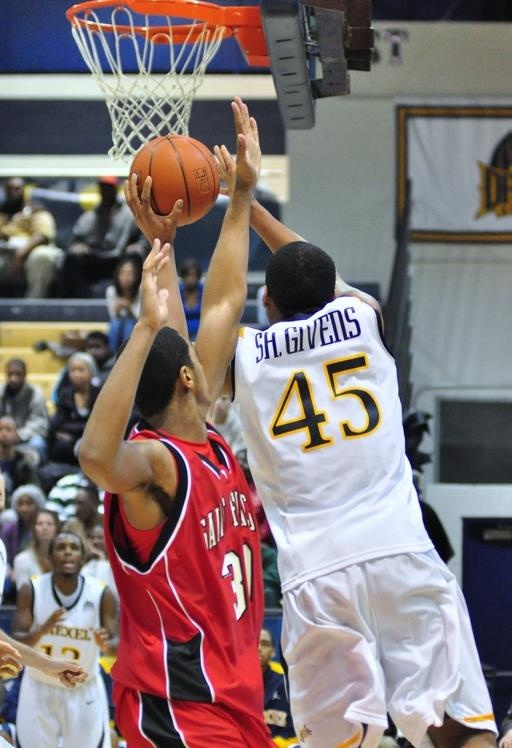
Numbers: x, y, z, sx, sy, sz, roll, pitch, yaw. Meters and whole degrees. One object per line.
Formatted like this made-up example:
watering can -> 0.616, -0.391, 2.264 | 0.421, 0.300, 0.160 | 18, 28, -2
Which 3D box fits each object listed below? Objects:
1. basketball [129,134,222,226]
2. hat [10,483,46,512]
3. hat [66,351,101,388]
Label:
basketball -> -0.242, -0.623, 3.831 | 0.264, 0.322, 0.270 | -3, 13, -6
hat -> -1.278, 0.670, 6.821 | 0.130, 0.173, 0.154 | -9, 18, -19
hat -> -1.094, -0.031, 7.952 | 0.204, 0.237, 0.229 | -22, -11, -4
